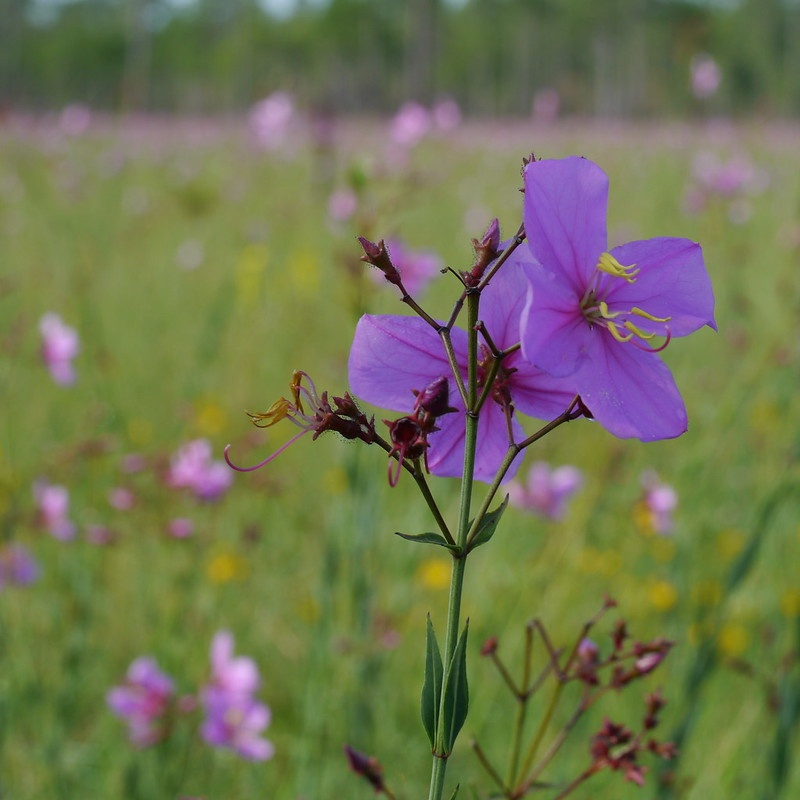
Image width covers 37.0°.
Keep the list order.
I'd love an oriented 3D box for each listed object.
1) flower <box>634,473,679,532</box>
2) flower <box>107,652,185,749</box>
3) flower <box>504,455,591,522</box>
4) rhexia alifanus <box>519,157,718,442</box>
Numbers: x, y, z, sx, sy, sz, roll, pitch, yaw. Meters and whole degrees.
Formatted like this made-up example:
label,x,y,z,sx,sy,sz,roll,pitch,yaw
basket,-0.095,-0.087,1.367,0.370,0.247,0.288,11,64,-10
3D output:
label,x,y,z,sx,sy,sz,roll,pitch,yaw
flower,0.583,0.226,2.677,0.025,0.135,0.113,-12,4,-7
flower,-0.499,0.551,2.311,0.124,0.105,0.214,-2,22,-9
flower,0.375,0.219,3.062,0.167,0.096,0.199,-5,53,17
rhexia alifanus,0.328,-0.153,1.780,0.298,0.374,0.217,3,19,6
